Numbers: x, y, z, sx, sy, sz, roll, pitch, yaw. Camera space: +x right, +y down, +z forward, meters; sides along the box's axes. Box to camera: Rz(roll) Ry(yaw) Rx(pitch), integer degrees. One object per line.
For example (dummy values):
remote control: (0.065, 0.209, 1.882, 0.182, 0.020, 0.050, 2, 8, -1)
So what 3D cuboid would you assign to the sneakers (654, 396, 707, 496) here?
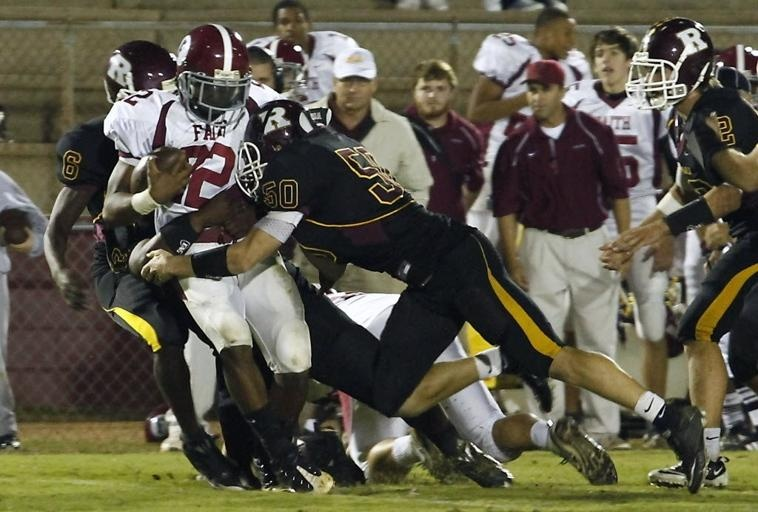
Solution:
sneakers: (1.543, 0.940, 5.383, 0.250, 0.490, 0.176, -22, 6, 1)

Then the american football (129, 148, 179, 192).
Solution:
american football: (-1.173, -0.444, 5.485, 0.313, 0.231, 0.104, 1, 3, 29)

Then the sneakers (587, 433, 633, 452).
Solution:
sneakers: (1.490, 1.200, 6.825, 0.301, 0.076, 0.169, 12, 14, 12)

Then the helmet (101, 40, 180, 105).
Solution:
helmet: (-1.316, -1.030, 5.889, 0.423, 0.339, 0.326, 29, 43, 33)

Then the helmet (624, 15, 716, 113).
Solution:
helmet: (1.593, -1.091, 6.074, 0.601, 0.441, 0.437, -17, 18, 9)

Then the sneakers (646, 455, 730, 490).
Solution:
sneakers: (1.650, 1.162, 5.632, 0.471, 0.195, 0.155, 1, -9, -2)

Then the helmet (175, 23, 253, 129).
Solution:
helmet: (-0.905, -0.950, 5.641, 0.435, 0.442, 0.505, -4, 45, -25)

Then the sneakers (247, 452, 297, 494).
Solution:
sneakers: (-0.587, 1.194, 5.706, 0.244, 0.154, 0.099, 41, 43, 15)

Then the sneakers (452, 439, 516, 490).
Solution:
sneakers: (0.540, 1.128, 5.731, 0.364, 0.187, 0.142, 38, -18, 14)
